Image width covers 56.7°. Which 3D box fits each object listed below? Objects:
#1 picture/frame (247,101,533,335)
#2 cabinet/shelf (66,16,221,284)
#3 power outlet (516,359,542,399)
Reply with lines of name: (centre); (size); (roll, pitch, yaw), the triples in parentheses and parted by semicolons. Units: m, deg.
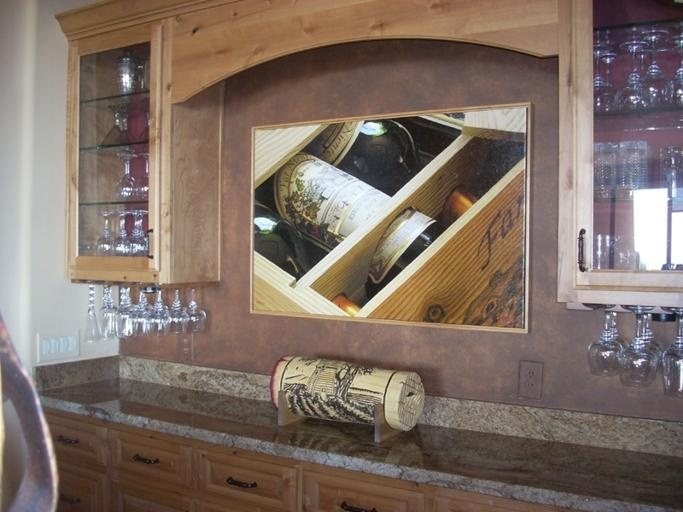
picture/frame: (0.208, -0.176, 2.864); (1.247, 0.933, 0.175); (2, 8, 22)
cabinet/shelf: (-0.980, -0.488, 3.117); (0.753, 1.273, 0.426); (-1, 8, 8)
power outlet: (0.782, 0.513, 2.610); (0.097, 0.152, 0.028); (1, 8, 19)
